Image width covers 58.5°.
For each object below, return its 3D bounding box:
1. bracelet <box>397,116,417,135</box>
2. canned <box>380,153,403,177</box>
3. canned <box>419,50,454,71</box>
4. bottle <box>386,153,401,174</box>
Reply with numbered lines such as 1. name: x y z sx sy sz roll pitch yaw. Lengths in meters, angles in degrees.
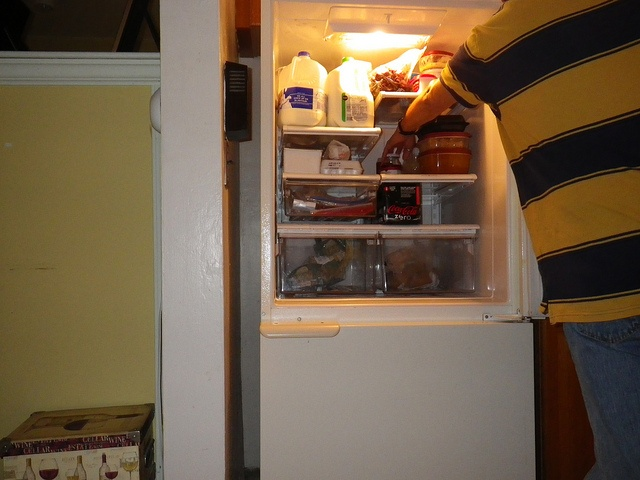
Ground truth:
1. bracelet: 0.354 -0.462 2.304 0.079 0.075 0.033 -1 1 5
2. canned: 0.294 -0.315 2.379 0.083 0.099 0.084 -3 -7 34
3. canned: 0.473 -0.736 2.354 0.131 0.092 0.136 -4 10 -17
4. bottle: 0.309 -0.316 2.378 0.071 0.088 0.074 2 -7 -13
